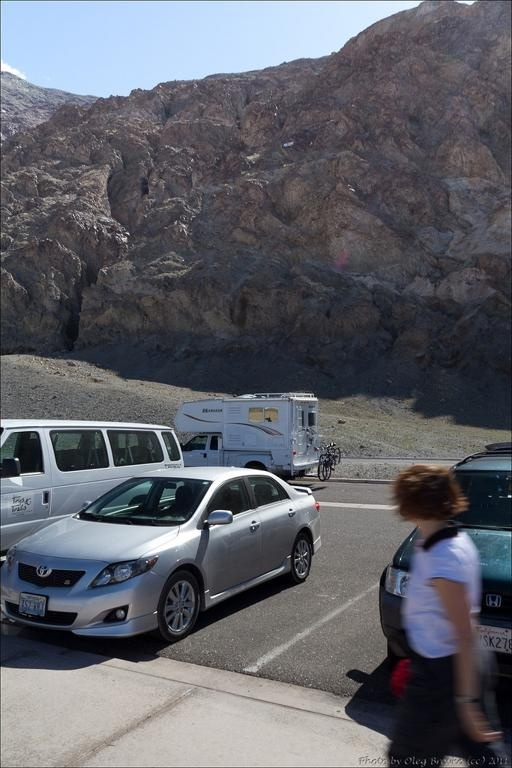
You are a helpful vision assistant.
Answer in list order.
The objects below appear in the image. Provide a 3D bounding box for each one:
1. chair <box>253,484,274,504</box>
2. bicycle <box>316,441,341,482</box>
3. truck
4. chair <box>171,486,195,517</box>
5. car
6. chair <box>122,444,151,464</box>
[{"bbox_3d":[0.073,1.185,6.975,0.185,0.208,0.189,3,-5,-36],"label":"chair"},{"bbox_3d":[2.037,2.367,19.925,0.598,0.810,1.553,-6,4,18],"label":"bicycle"},{"bbox_3d":[-0.441,1.345,18.404,3.835,2.040,2.246,2,3,25],"label":"truck"},{"bbox_3d":[-0.683,1.118,6.176,0.175,0.249,0.216,-2,42,-4],"label":"chair"},{"bbox_3d":[-0.707,1.501,6.068,1.292,0.846,2.562,0,1,32],"label":"car"},{"bbox_3d":[-1.765,1.056,9.650,0.224,0.307,0.296,5,-10,-7],"label":"chair"}]
